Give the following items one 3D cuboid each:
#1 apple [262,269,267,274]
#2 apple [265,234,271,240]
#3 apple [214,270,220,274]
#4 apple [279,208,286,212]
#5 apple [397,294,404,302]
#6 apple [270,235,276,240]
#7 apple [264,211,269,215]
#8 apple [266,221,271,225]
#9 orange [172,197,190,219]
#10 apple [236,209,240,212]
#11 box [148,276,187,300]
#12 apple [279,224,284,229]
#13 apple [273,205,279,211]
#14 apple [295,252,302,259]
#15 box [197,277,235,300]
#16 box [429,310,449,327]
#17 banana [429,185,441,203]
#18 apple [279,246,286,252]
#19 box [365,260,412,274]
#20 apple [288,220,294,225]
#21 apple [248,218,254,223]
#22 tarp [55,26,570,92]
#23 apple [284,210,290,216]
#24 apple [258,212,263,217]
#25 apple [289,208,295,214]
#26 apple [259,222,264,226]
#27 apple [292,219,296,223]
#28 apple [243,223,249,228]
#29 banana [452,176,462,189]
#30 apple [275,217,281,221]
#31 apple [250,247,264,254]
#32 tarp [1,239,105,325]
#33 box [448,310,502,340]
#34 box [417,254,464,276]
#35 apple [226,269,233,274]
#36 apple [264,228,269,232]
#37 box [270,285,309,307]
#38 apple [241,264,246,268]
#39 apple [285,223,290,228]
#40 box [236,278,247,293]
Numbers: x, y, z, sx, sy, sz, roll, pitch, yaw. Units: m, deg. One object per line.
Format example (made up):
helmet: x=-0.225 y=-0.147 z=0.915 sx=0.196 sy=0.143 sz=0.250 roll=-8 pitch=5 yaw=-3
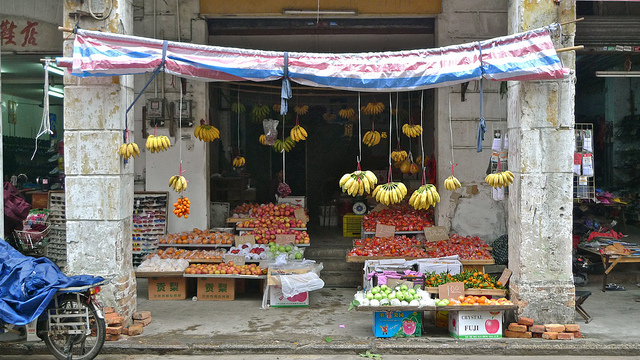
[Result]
apple: x=-1.229 y=2.123 z=21.586 sx=0.129 sy=0.112 sz=0.076 roll=0 pitch=0 yaw=32
apple: x=-1.232 y=1.377 z=22.512 sx=0.099 sy=0.090 sz=0.095 roll=-2 pitch=3 yaw=-8
apple: x=-2.330 y=2.125 z=21.552 sx=0.112 sy=0.086 sz=0.034 roll=0 pitch=0 yaw=-10
apple: x=-0.901 y=0.752 z=23.217 sx=0.154 sy=0.092 sz=0.073 roll=0 pitch=0 yaw=-1
apple: x=1.711 y=2.529 z=19.975 sx=0.124 sy=0.135 sz=0.119 roll=0 pitch=7 yaw=-19
apple: x=-1.114 y=1.386 z=22.532 sx=0.120 sy=0.105 sz=0.049 roll=0 pitch=0 yaw=-14
apple: x=-1.290 y=0.821 z=23.196 sx=0.114 sy=0.077 sz=0.099 roll=0 pitch=0 yaw=0
apple: x=-1.205 y=1.050 z=22.786 sx=0.102 sy=0.075 sz=0.048 roll=1 pitch=0 yaw=-39
orange: x=-2.969 y=0.566 z=20.475 sx=0.312 sy=0.285 sz=0.445 roll=3 pitch=23 yaw=-3
apple: x=-2.051 y=0.787 z=23.808 sx=0.079 sy=0.063 sz=0.068 roll=0 pitch=0 yaw=-1
box: x=-3.442 y=2.511 z=21.675 sx=0.661 sy=0.373 sz=0.633 roll=-1 pitch=3 yaw=-4
apple: x=-0.905 y=1.133 z=22.765 sx=0.114 sy=0.100 sz=0.098 roll=0 pitch=0 yaw=7
apple: x=-1.064 y=0.714 z=23.244 sx=0.142 sy=0.129 sz=0.077 roll=0 pitch=0 yaw=1
apple: x=-0.471 y=1.790 z=21.945 sx=0.182 sy=0.140 sz=0.068 roll=1 pitch=0 yaw=-31
box: x=-2.368 y=2.517 z=21.674 sx=0.962 sy=0.629 sz=0.499 roll=0 pitch=-3 yaw=0
box: x=2.604 y=3.049 z=20.478 sx=0.223 sy=0.378 sz=0.396 roll=7 pitch=-9 yaw=-22
banana: x=2.426 y=0.305 z=19.923 sx=0.127 sy=0.376 sz=0.121 roll=-39 pitch=0 yaw=5
apple: x=-0.861 y=1.645 z=22.173 sx=0.136 sy=0.129 sz=0.154 roll=1 pitch=0 yaw=-20
box: x=1.534 y=1.982 z=21.316 sx=0.976 sy=0.272 sz=0.289 roll=0 pitch=0 yaw=-4
apple: x=-0.668 y=1.040 z=22.896 sx=0.107 sy=0.105 sz=0.084 roll=0 pitch=0 yaw=-2
apple: x=-1.651 y=1.003 z=22.929 sx=0.147 sy=0.101 sz=0.148 roll=0 pitch=0 yaw=1
tarp: x=0.111 y=-2.617 z=19.934 sx=10.000 sy=1.377 sz=0.427 roll=0 pitch=0 yaw=-1
apple: x=-0.791 y=0.829 z=23.201 sx=0.126 sy=0.134 sz=0.057 roll=0 pitch=0 yaw=-15
apple: x=-1.445 y=0.853 z=23.230 sx=0.107 sy=0.077 sz=0.045 roll=0 pitch=0 yaw=-5
apple: x=-0.674 y=0.778 z=23.274 sx=0.142 sy=0.139 sz=0.083 roll=0 pitch=0 yaw=-16
apple: x=-1.406 y=1.082 z=22.811 sx=0.080 sy=0.075 sz=0.074 roll=0 pitch=0 yaw=8
apple: x=-0.610 y=1.020 z=22.913 sx=0.088 sy=0.069 sz=0.125 roll=-5 pitch=6 yaw=0
apple: x=-1.766 y=1.117 z=22.877 sx=0.103 sy=0.087 sz=0.099 roll=4 pitch=-4 yaw=-14
banana: x=3.042 y=0.061 z=20.926 sx=0.113 sy=0.286 sz=0.073 roll=-23 pitch=-20 yaw=-20
apple: x=-1.003 y=0.965 z=22.926 sx=0.137 sy=0.075 sz=0.111 roll=0 pitch=0 yaw=-2
apple: x=-1.446 y=1.670 z=22.118 sx=0.355 sy=0.141 sz=0.154 roll=1 pitch=0 yaw=-20
tarp: x=-5.687 y=2.174 z=19.280 sx=1.534 sy=1.728 sz=0.583 roll=0 pitch=0 yaw=-13
box: x=3.330 y=3.101 z=19.993 sx=0.966 sy=0.463 sz=0.647 roll=0 pitch=-3 yaw=-3
box: x=2.740 y=1.932 z=21.446 sx=1.014 sy=0.447 sz=0.491 roll=0 pitch=0 yaw=7
apple: x=-2.040 y=2.102 z=21.515 sx=0.098 sy=0.085 sz=0.096 roll=2 pitch=-8 yaw=-7
apple: x=-1.259 y=1.218 z=22.654 sx=0.109 sy=0.090 sz=0.058 roll=1 pitch=0 yaw=-25
box: x=-0.699 y=2.598 z=21.388 sx=0.601 sy=0.353 sz=0.606 roll=0 pitch=0 yaw=-3
apple: x=-1.738 y=2.000 z=21.677 sx=0.103 sy=0.071 sz=0.088 roll=0 pitch=0 yaw=-16
apple: x=-0.771 y=1.105 z=22.816 sx=0.106 sy=0.101 sz=0.048 roll=0 pitch=0 yaw=-3
box: x=-1.794 y=2.503 z=22.250 sx=0.203 sy=0.340 sz=0.526 roll=0 pitch=0 yaw=10
